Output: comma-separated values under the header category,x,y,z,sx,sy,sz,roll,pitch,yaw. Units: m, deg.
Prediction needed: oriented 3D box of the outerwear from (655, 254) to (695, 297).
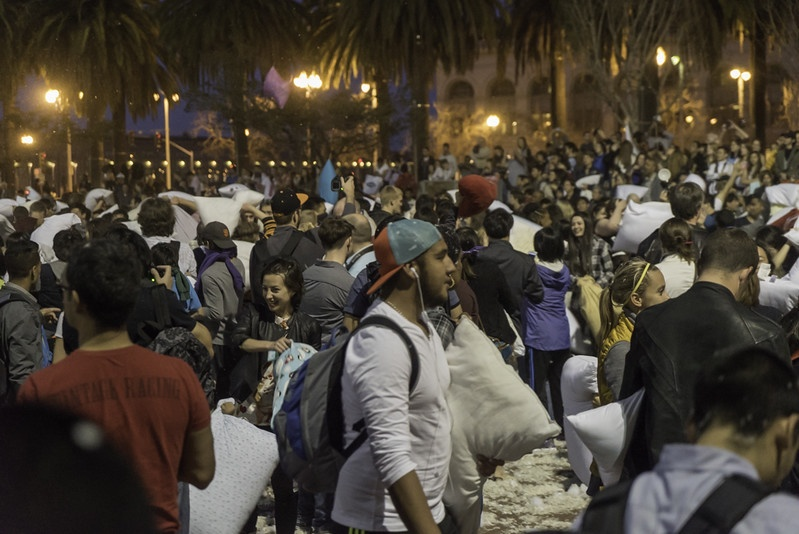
category,x,y,z,sx,sy,sz,roll,pitch,yaw
outerwear,2.096,0.069,6.640,0.257,0.156,0.279,6,47,12

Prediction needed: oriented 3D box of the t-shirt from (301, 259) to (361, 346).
category,x,y,z,sx,sy,sz,roll,pitch,yaw
t-shirt,-0.706,0.308,7.285,0.643,0.734,0.397,6,22,-2

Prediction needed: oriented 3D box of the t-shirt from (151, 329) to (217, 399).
category,x,y,z,sx,sy,sz,roll,pitch,yaw
t-shirt,-1.312,0.545,5.382,0.334,0.476,0.196,-20,38,-2

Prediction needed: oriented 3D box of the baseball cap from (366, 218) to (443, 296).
category,x,y,z,sx,sy,sz,roll,pitch,yaw
baseball cap,0.065,-0.077,4.580,0.190,0.421,0.251,8,18,1

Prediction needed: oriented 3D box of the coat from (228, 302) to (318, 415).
category,x,y,z,sx,sy,sz,roll,pitch,yaw
coat,-0.987,0.636,6.738,0.647,0.825,0.465,10,11,-6

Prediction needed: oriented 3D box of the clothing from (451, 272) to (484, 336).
category,x,y,z,sx,sy,sz,roll,pitch,yaw
clothing,0.488,0.273,6.476,0.188,0.270,0.374,-25,-32,8

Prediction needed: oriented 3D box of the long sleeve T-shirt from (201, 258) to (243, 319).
category,x,y,z,sx,sy,sz,roll,pitch,yaw
long sleeve T-shirt,-1.605,0.204,7.807,0.419,0.522,0.288,-10,14,-42

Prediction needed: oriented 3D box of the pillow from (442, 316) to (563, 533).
category,x,y,z,sx,sy,sz,roll,pitch,yaw
pillow,0.520,0.876,4.845,0.559,1.156,0.291,-1,4,2

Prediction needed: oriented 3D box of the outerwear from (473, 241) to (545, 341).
category,x,y,z,sx,sy,sz,roll,pitch,yaw
outerwear,0.992,0.232,8.091,0.476,1.183,0.388,-21,23,-7

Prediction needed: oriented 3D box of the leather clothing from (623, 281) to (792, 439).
category,x,y,z,sx,sy,sz,roll,pitch,yaw
leather clothing,1.788,0.655,5.085,1.011,1.110,0.594,-2,-10,28
